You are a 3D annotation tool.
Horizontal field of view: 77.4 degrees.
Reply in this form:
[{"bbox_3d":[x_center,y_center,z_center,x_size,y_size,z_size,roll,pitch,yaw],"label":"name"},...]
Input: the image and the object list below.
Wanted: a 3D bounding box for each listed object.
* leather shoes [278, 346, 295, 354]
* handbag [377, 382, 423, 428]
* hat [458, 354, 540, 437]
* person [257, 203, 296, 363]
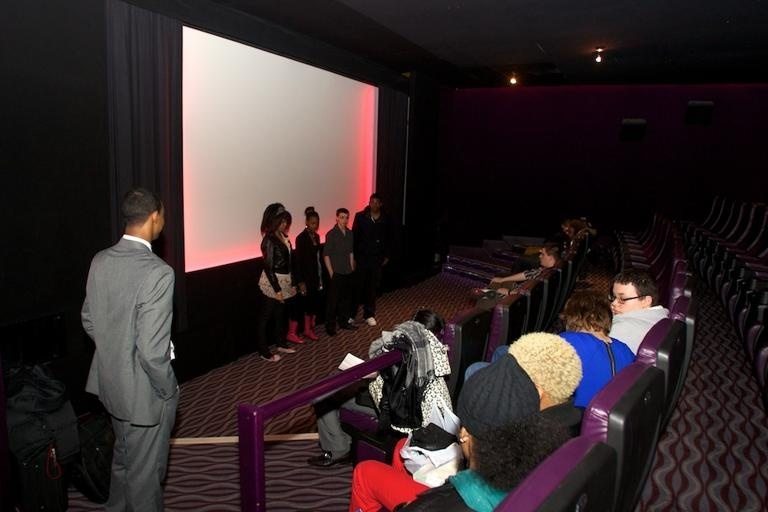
[{"bbox_3d":[-1.140,1.097,5.630,0.162,0.056,0.093,4,7,10],"label":"leather shoes"},{"bbox_3d":[0.123,0.979,3.160,0.301,0.314,0.182,2,3,18],"label":"handbag"},{"bbox_3d":[0.530,0.631,2.382,0.395,0.332,0.302,-11,14,-15],"label":"hat"},{"bbox_3d":[-1.236,0.285,5.460,0.430,1.756,0.563,-2,9,-11],"label":"person"}]
